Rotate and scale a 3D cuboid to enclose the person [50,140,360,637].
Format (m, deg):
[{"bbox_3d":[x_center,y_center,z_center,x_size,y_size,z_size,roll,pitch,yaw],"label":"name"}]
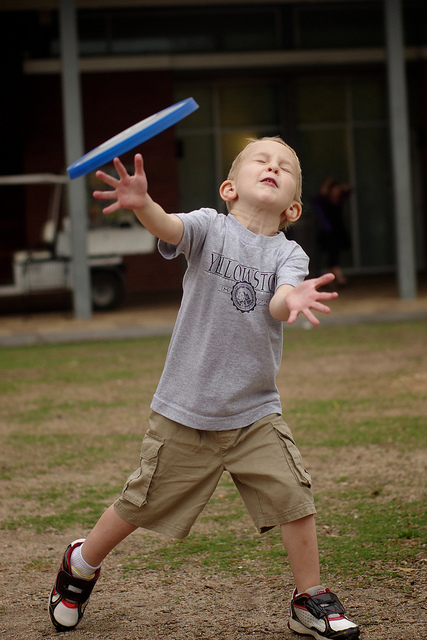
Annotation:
[{"bbox_3d":[-0.044,0.136,1.610,0.595,1.106,0.326,-1,1,-14],"label":"person"}]

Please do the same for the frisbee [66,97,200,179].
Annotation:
[{"bbox_3d":[-0.164,-0.380,1.559,0.207,0.195,0.281,0,1,16],"label":"frisbee"}]

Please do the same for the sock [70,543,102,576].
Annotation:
[{"bbox_3d":[-0.297,0.559,1.731,0.050,0.049,0.077,9,-39,11],"label":"sock"}]
